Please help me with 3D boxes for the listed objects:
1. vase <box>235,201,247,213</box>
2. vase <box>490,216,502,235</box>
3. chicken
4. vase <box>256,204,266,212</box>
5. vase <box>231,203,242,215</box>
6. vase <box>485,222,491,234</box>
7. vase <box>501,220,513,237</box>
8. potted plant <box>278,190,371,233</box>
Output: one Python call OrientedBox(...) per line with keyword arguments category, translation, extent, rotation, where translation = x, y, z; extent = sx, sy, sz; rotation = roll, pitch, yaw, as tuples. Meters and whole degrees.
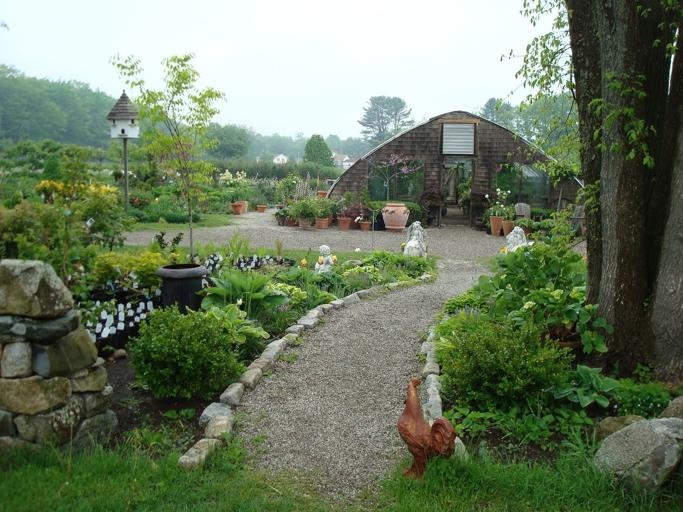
OrientedBox(category="vase", translation=(-4.465, -2.113, 24.014), extent=(0.522, 0.487, 0.646), rotation=(1, 9, 21))
OrientedBox(category="vase", translation=(4.991, -0.984, 18.109), extent=(0.482, 0.598, 0.510), rotation=(3, 8, 34))
OrientedBox(category="chicken", translation=(0.651, 1.347, 4.362), extent=(0.477, 0.734, 0.292), rotation=(6, 7, 39))
OrientedBox(category="vase", translation=(-3.771, -2.223, 25.977), extent=(0.379, 0.287, 0.401), rotation=(1, 2, -7))
OrientedBox(category="vase", translation=(-4.421, -2.025, 23.681), extent=(0.446, 0.395, 0.505), rotation=(3, 8, 30))
OrientedBox(category="vase", translation=(4.935, -0.941, 18.845), extent=(0.277, 0.505, 0.299), rotation=(1, 12, 14))
OrientedBox(category="vase", translation=(5.257, -0.873, 17.792), extent=(0.374, 0.534, 0.397), rotation=(8, 11, 44))
OrientedBox(category="potted plant", translation=(-0.560, -1.453, 19.263), extent=(3.161, 1.015, 1.788), rotation=(0, 15, -5))
